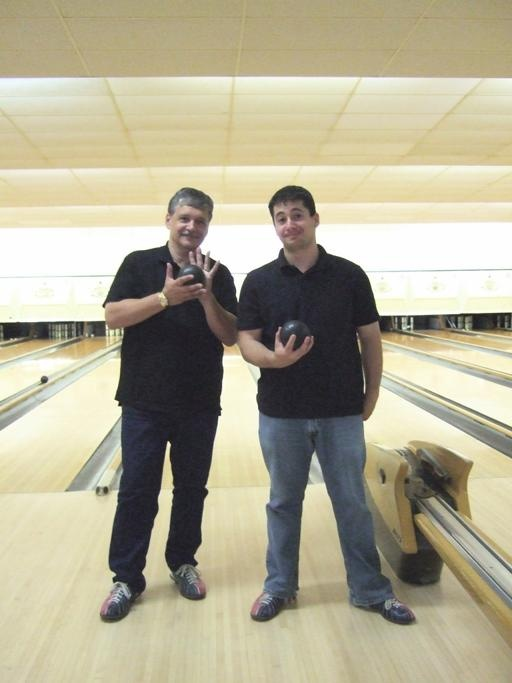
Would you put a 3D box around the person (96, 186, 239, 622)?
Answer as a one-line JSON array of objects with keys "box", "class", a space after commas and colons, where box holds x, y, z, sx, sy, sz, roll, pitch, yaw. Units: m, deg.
[{"box": [-0.223, 0.130, 1.360, 0.371, 1.096, 0.410, -1, 7, -9], "class": "person"}]

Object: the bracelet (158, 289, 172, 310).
[{"box": [-0.230, -0.104, 1.251, 0.029, 0.045, 0.042, -22, 5, 0], "class": "bracelet"}]

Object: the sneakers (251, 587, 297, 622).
[{"box": [0.041, 0.637, 1.238, 0.045, 0.053, 0.135, 0, -8, 36], "class": "sneakers"}]

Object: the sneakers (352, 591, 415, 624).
[{"box": [0.307, 0.632, 1.213, 0.123, 0.045, 0.044, -5, -4, 39], "class": "sneakers"}]

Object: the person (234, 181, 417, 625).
[{"box": [0.163, 0.146, 1.265, 0.415, 1.070, 0.319, 0, 7, -2], "class": "person"}]
